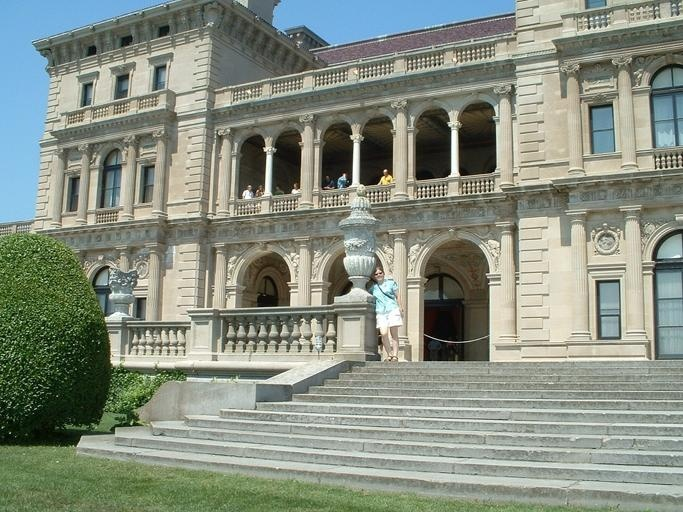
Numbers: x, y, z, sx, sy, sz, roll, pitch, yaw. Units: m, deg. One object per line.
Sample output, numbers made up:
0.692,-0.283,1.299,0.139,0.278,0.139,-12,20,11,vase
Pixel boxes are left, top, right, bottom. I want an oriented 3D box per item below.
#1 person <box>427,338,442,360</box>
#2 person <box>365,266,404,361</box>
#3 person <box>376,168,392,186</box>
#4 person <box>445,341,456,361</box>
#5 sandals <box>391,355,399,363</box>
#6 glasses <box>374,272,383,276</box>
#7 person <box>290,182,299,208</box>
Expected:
4.354,4.368,33.343,0.633,0.991,1.847,-1,-10,7,person
1.125,1.442,17.910,0.748,2.418,0.910,0,-12,1,person
1.963,-3.456,31.549,0.584,0.899,1.103,0,-10,3,person
5.246,4.545,33.824,0.234,0.767,0.669,12,-16,-43,person
1.296,2.553,17.742,0.193,0.170,0.446,-1,-10,6,sandals
0.923,0.424,17.823,0.185,0.149,0.304,-1,-10,8,glasses
-2.200,-2.752,33.186,0.438,1.450,1.159,2,-11,-6,person
